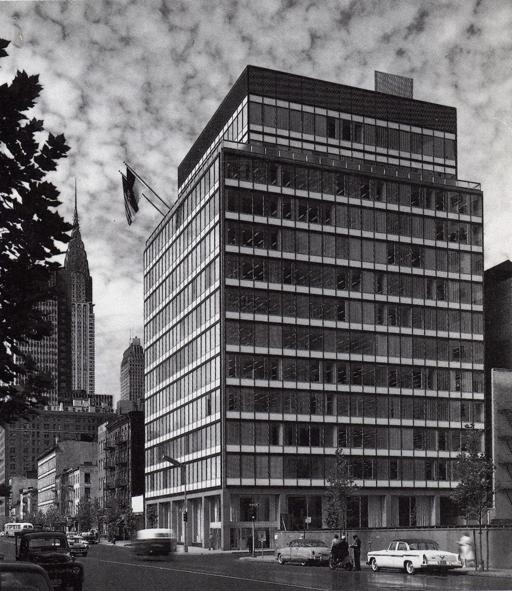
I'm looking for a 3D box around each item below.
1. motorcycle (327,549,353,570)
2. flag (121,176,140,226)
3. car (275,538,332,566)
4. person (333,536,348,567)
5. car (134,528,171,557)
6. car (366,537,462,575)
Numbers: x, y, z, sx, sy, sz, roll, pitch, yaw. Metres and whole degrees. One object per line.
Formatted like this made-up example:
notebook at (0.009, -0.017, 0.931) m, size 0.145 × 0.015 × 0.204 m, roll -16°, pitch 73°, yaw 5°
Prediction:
motorcycle at (3.857, 12.207, 63.643) m, size 0.632 × 0.999 × 1.366 m, roll 4°, pitch -10°, yaw -15°
flag at (-9.054, -7.304, 97.599) m, size 1.520 × 5.233 × 0.316 m, roll -24°, pitch -39°, yaw 22°
car at (2.503, 13.151, 70.132) m, size 1.279 × 1.548 × 3.154 m, roll 11°, pitch -22°, yaw -37°
person at (3.886, 11.804, 63.352) m, size 0.750 × 1.094 × 0.953 m, roll -2°, pitch -16°, yaw 2°
car at (-5.839, 13.528, 75.101) m, size 1.208 × 1.388 × 2.197 m, roll 6°, pitch -10°, yaw -30°
car at (6.866, 11.492, 60.412) m, size 1.245 × 1.580 × 4.365 m, roll 11°, pitch -22°, yaw -36°
